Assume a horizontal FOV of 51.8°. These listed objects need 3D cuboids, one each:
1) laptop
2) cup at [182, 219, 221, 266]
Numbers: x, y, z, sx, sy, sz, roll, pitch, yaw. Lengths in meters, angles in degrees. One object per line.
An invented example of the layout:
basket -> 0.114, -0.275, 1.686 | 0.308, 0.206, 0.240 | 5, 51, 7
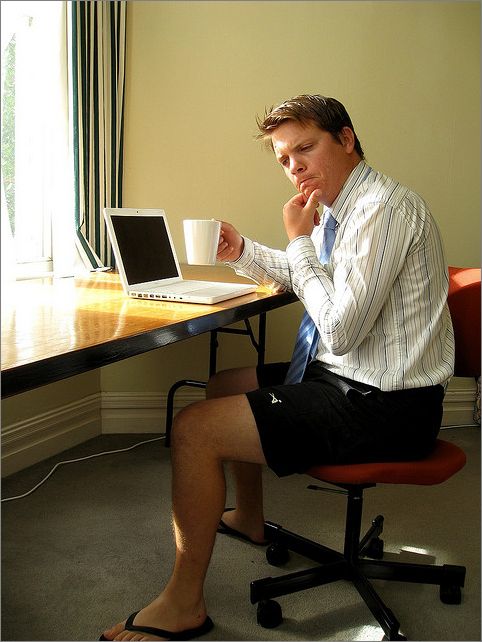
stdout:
laptop -> -0.149, -0.164, 1.291 | 0.320, 0.243, 0.344 | 4, 11, 21
cup -> -0.119, -0.217, 1.318 | 0.113, 0.113, 0.098 | 3, 8, 22
